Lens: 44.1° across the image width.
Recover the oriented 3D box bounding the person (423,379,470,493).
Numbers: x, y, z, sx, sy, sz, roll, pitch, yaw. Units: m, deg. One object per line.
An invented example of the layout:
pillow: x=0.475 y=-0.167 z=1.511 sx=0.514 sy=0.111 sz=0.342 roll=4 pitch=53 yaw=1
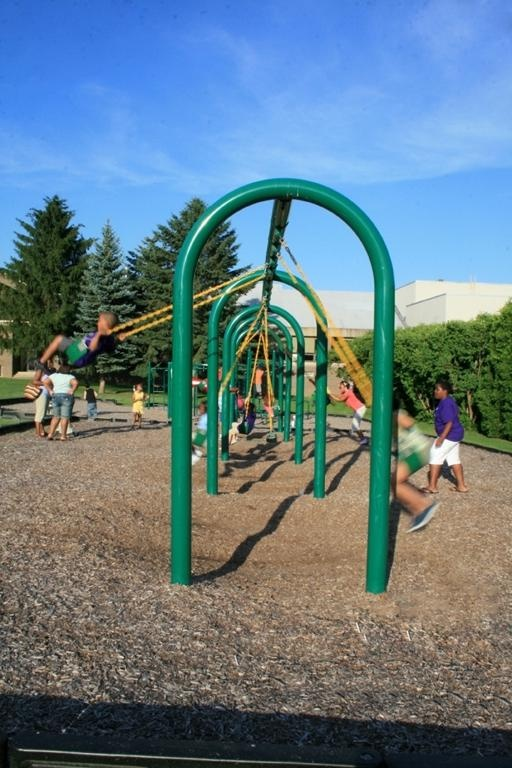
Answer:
person: x=2.076 y=0.559 z=7.100 sx=0.780 sy=1.391 sz=0.549 roll=0 pitch=1 yaw=7

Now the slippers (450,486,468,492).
slippers: x=2.322 y=1.191 z=7.129 sx=0.074 sy=0.047 sz=0.184 roll=-2 pitch=-7 yaw=0

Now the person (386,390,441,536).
person: x=0.968 y=0.450 z=4.122 sx=0.432 sy=0.928 sz=0.317 roll=-5 pitch=-8 yaw=9
